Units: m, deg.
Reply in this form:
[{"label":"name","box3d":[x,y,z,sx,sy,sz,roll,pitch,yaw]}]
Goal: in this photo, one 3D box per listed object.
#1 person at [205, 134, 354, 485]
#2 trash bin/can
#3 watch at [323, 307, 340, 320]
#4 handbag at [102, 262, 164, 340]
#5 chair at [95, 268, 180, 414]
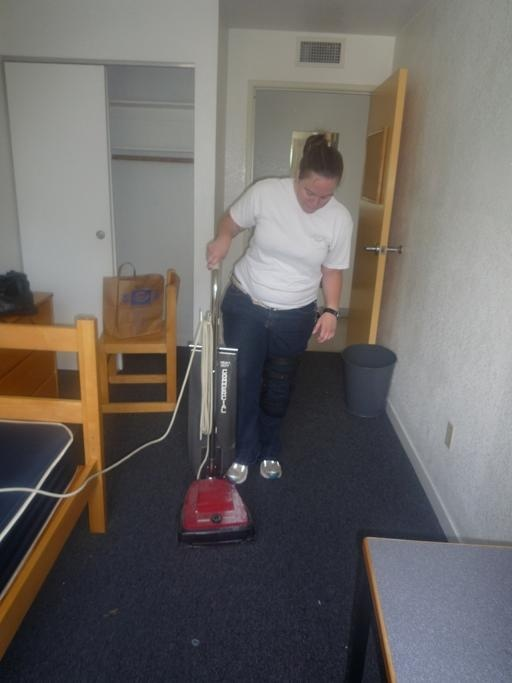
[{"label":"person","box3d":[0.061,-0.101,2.028,0.465,1.428,0.443,6,27,-8]},{"label":"trash bin/can","box3d":[0.595,0.203,2.937,0.295,0.445,0.361,0,19,4]},{"label":"watch","box3d":[0.293,-0.115,1.995,0.047,0.024,0.050,31,6,37]},{"label":"handbag","box3d":[-0.667,-0.199,2.760,0.329,0.516,0.168,-12,34,-29]},{"label":"chair","box3d":[-0.655,-0.099,2.894,0.409,0.840,0.477,-1,33,-13]}]
